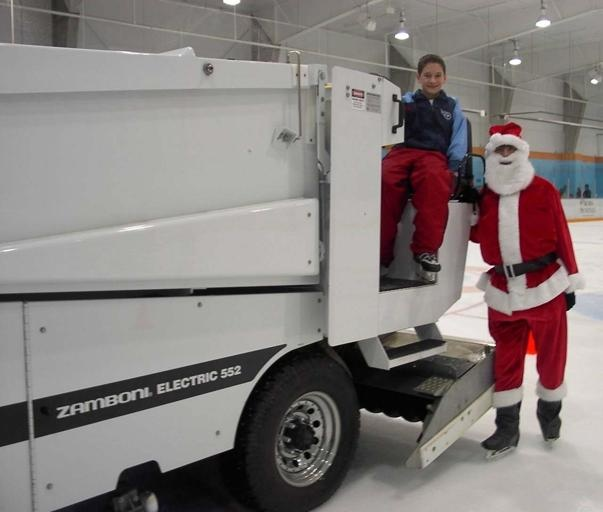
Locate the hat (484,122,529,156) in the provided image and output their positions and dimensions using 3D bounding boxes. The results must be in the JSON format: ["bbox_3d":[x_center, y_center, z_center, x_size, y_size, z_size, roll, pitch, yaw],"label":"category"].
[{"bbox_3d":[1.283,-0.730,3.090,0.238,0.213,0.254,-5,2,21],"label":"hat"}]

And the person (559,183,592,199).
[{"bbox_3d":[13.146,-3.004,23.308,1.010,0.447,1.077,3,10,20],"label":"person"}]
